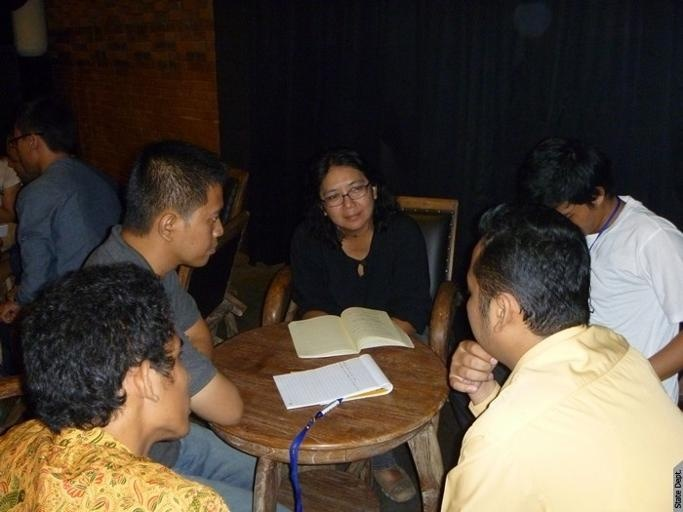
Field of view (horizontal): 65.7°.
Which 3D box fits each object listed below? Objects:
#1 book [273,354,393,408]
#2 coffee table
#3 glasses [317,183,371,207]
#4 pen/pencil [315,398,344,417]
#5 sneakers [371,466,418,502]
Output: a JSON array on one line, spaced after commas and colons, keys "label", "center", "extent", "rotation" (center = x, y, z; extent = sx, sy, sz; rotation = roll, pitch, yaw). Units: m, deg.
[{"label": "book", "center": [-0.043, 0.425, 1.754], "extent": [0.270, 0.049, 0.169], "rotation": [-8, 22, -13]}, {"label": "coffee table", "center": [-0.036, 0.448, 1.814], "extent": [0.594, 0.603, 0.667], "rotation": [-2, 19, -4]}, {"label": "glasses", "center": [0.017, -0.276, 2.367], "extent": [0.210, 0.111, 0.064], "rotation": [0, 18, -2]}, {"label": "pen/pencil", "center": [-0.040, 0.477, 1.665], "extent": [0.074, 0.014, 0.013], "rotation": [-28, 32, -25]}, {"label": "sneakers", "center": [0.246, 1.022, 2.401], "extent": [0.111, 0.076, 0.201], "rotation": [-29, 46, -28]}]
